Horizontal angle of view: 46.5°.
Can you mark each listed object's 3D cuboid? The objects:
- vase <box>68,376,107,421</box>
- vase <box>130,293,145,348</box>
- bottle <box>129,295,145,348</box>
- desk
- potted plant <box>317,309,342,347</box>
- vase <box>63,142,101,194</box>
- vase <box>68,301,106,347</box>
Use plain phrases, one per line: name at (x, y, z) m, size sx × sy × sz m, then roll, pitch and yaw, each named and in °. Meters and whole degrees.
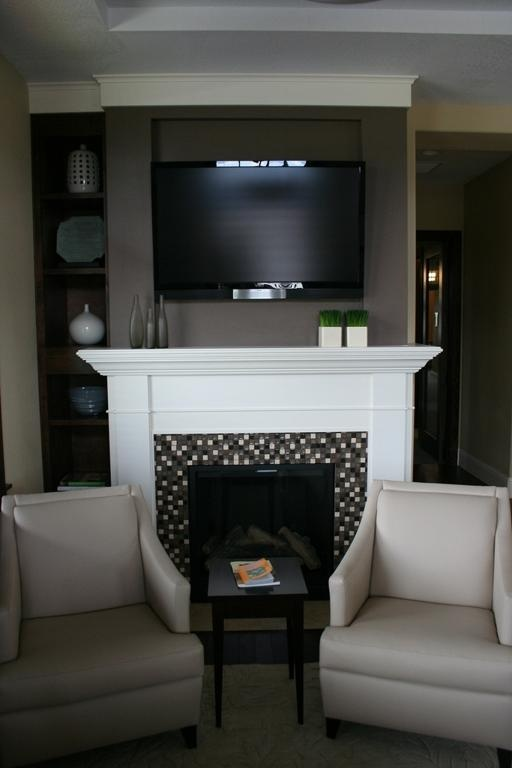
vase at (-0.908, 0.074, 3.231) m, size 0.222 × 0.219 × 0.230 m, roll -1°, pitch 5°, yaw -18°
vase at (-0.576, -0.301, 2.877) m, size 0.072 × 0.262 × 0.215 m, roll -1°, pitch 3°, yaw -12°
bottle at (-0.576, -0.300, 2.877) m, size 0.072 × 0.260 × 0.215 m, roll -1°, pitch 3°, yaw -12°
desk at (-0.005, 0.942, 2.072) m, size 0.393 × 0.535 × 0.342 m, roll 2°, pitch -6°, yaw 13°
potted plant at (0.358, -0.265, 2.884) m, size 0.121 × 0.274 × 0.150 m, roll 0°, pitch 3°, yaw -2°
vase at (-0.896, -1.113, 3.081) m, size 0.150 × 0.258 × 0.079 m, roll -1°, pitch 3°, yaw -12°
vase at (-0.897, -0.316, 3.175) m, size 0.176 × 0.224 × 0.190 m, roll -1°, pitch 3°, yaw -16°
